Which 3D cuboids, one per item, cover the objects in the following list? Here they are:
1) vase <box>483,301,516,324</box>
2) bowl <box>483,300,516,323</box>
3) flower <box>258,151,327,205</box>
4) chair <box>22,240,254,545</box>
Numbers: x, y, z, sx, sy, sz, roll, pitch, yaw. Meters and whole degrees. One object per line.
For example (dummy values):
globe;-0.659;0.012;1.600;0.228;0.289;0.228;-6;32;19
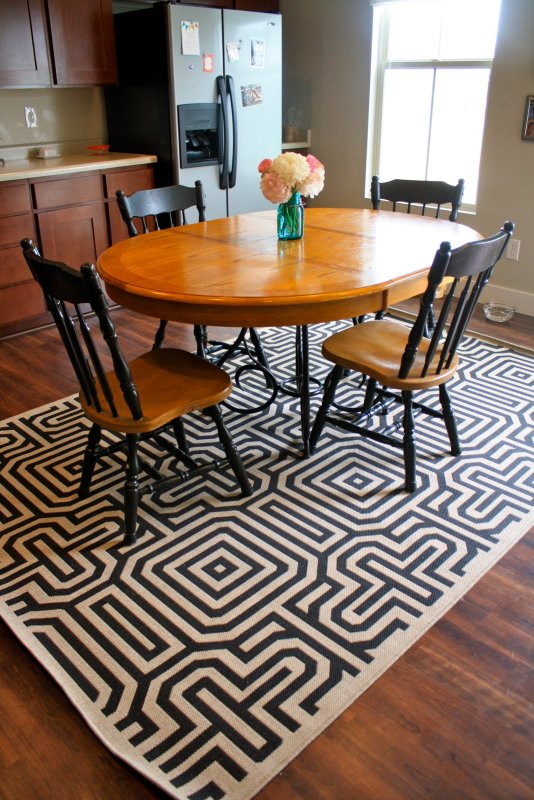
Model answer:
vase;1.426;-0.528;3.517;0.144;0.065;0.139;6;22;1
bowl;1.435;-0.534;3.523;0.142;0.065;0.138;4;21;-2
flower;0.090;-0.758;1.982;0.214;0.153;0.115;-14;30;-24
chair;-0.429;0.011;1.951;0.752;1.084;0.584;-23;48;-32
